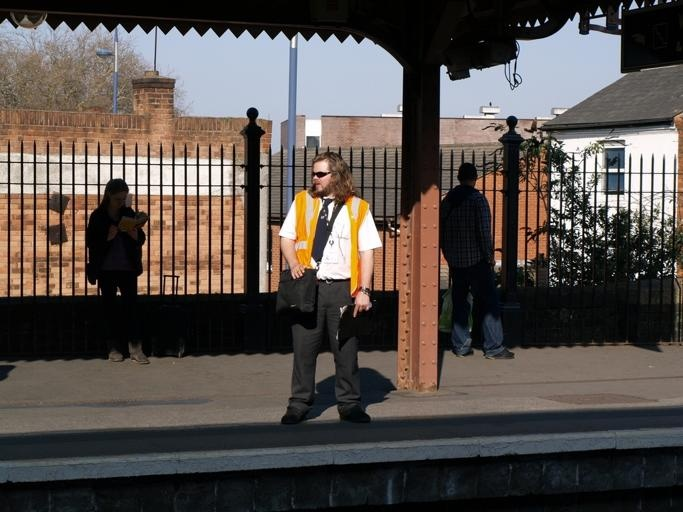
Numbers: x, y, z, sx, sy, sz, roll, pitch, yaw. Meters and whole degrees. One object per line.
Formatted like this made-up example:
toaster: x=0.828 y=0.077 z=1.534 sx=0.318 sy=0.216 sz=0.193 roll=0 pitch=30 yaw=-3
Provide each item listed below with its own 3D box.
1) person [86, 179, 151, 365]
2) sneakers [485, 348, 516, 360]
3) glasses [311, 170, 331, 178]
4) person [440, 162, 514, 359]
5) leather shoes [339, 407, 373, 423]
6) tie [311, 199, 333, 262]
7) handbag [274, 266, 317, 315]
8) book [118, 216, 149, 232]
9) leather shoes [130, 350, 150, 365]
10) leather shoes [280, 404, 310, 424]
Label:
person: x=-2.512 y=0.181 z=13.802 sx=0.660 sy=2.068 sz=0.384 roll=0 pitch=4 yaw=-13
sneakers: x=1.880 y=1.174 z=14.478 sx=0.344 sy=0.171 sz=0.137 roll=-3 pitch=3 yaw=-8
glasses: x=-0.186 y=-0.744 z=11.313 sx=0.178 sy=0.058 sz=0.058 roll=2 pitch=5 yaw=17
person: x=1.530 y=0.068 z=14.319 sx=0.811 sy=2.270 sz=0.477 roll=1 pitch=4 yaw=11
leather shoes: x=0.122 y=1.452 z=11.276 sx=0.306 sy=0.136 sz=0.257 roll=1 pitch=5 yaw=4
tie: x=-0.179 y=-0.233 z=11.319 sx=0.189 sy=0.562 sz=0.090 roll=0 pitch=4 yaw=-6
handbag: x=-0.405 y=0.329 z=11.282 sx=0.489 sy=0.500 sz=0.215 roll=-2 pitch=-11 yaw=21
book: x=-2.316 y=-0.360 z=13.639 sx=0.313 sy=0.195 sz=0.318 roll=0 pitch=5 yaw=-8
leather shoes: x=-2.286 y=1.157 z=13.899 sx=0.109 sy=0.105 sz=0.242 roll=-1 pitch=0 yaw=-39
leather shoes: x=-0.412 y=1.451 z=11.282 sx=0.184 sy=0.134 sz=0.421 roll=3 pitch=5 yaw=23
